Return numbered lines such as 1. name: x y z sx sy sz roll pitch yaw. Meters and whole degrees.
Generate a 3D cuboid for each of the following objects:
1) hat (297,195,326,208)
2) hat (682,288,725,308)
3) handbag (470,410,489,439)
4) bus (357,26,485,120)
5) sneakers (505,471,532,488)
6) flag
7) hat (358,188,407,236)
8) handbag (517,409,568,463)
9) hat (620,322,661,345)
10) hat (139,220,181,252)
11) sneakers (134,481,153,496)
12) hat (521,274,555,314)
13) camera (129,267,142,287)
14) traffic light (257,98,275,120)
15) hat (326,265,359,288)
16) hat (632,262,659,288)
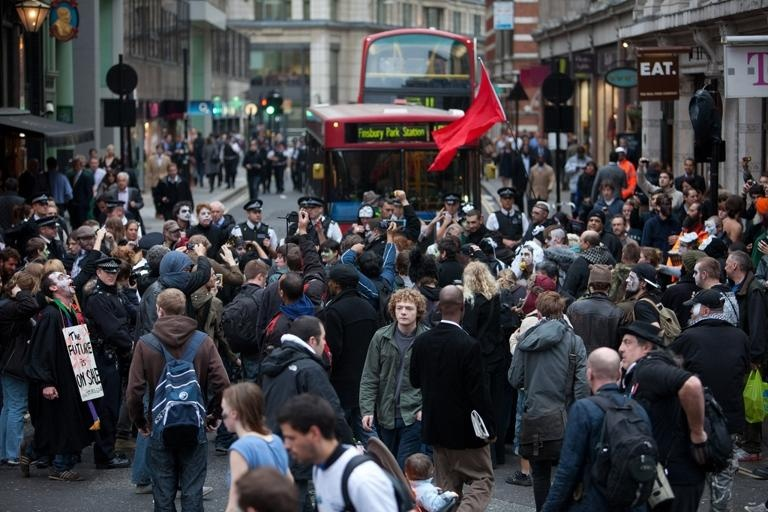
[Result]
1. hat: -1.251 -0.913 22.903 0.492 0.240 0.610 0 -3 8
2. hat: 4.227 0.589 17.039 0.352 0.196 0.255 10 4 12
3. handbag: 1.203 2.168 16.532 0.194 0.360 0.091 -24 -9 26
4. bus: 0.785 -3.678 30.902 2.725 2.340 1.879 2 13 1
5. sneakers: 1.874 3.138 18.221 0.361 0.188 0.156 3 6 23
6. flag: 1.755 -3.029 25.122 1.048 1.453 1.495 -15 11 35
7. hat: -0.053 -0.704 22.395 0.969 0.567 0.621 -1 2 -8
8. handbag: 2.067 2.372 16.966 0.653 0.716 0.376 -8 -22 20
9. hat: 3.244 0.979 16.266 0.340 0.130 0.314 24 -5 -8
10. hat: -3.702 -0.292 21.758 0.578 0.269 0.503 -10 33 23
11. sneakers: -3.311 3.214 17.952 0.272 0.300 0.135 2 1 -6
12. hat: 2.208 0.543 18.835 0.384 0.588 0.552 20 -14 -7
13. camera: -3.796 0.358 19.844 0.227 0.362 0.127 9 -9 -26
14. traffic light: -4.141 -5.255 46.392 0.429 0.657 1.729 1 4 -11
15. hat: -0.591 0.287 17.888 0.366 0.210 0.266 22 24 28
16. hat: 3.733 0.283 18.425 0.362 0.191 0.283 28 8 -14
